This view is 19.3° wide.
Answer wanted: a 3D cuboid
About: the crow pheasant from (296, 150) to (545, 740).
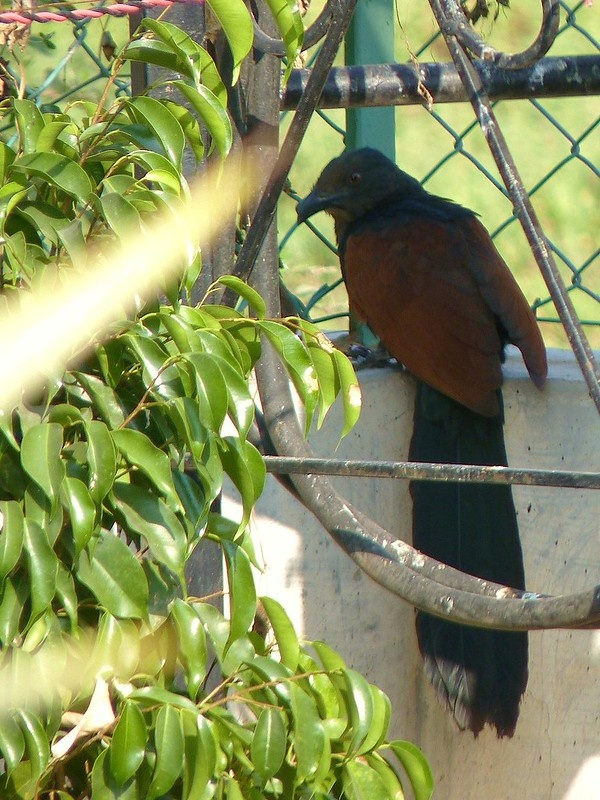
[{"bbox_3d":[0.330,0.025,4.078,0.415,1.537,0.466,-13,-15,0],"label":"crow pheasant"}]
